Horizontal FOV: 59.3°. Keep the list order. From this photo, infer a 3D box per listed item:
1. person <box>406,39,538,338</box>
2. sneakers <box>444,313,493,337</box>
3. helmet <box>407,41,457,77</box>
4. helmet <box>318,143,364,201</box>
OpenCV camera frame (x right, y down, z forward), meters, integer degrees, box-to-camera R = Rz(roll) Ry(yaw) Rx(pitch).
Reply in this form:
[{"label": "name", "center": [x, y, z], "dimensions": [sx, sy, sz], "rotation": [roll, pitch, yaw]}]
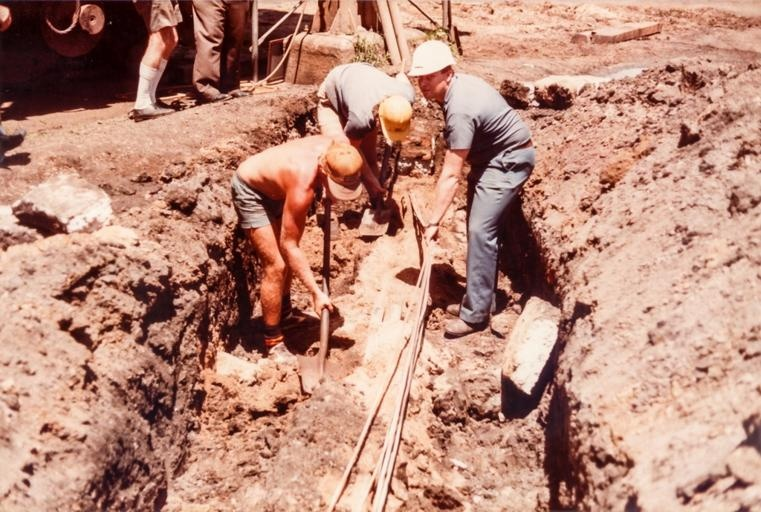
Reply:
[{"label": "person", "center": [0.699, -0.528, 5.793], "dimensions": [1.040, 2.328, 1.039], "rotation": [13, 39, 17]}, {"label": "sneakers", "center": [0.779, 0.649, 6.108], "dimensions": [0.427, 0.196, 0.172], "rotation": [-4, 44, -5]}, {"label": "helmet", "center": [0.433, -1.611, 5.441], "dimensions": [0.334, 0.205, 0.244], "rotation": [-26, 30, -36]}, {"label": "helmet", "center": [-0.309, -0.600, 5.124], "dimensions": [0.334, 0.489, 0.268], "rotation": [15, 40, 18]}]
